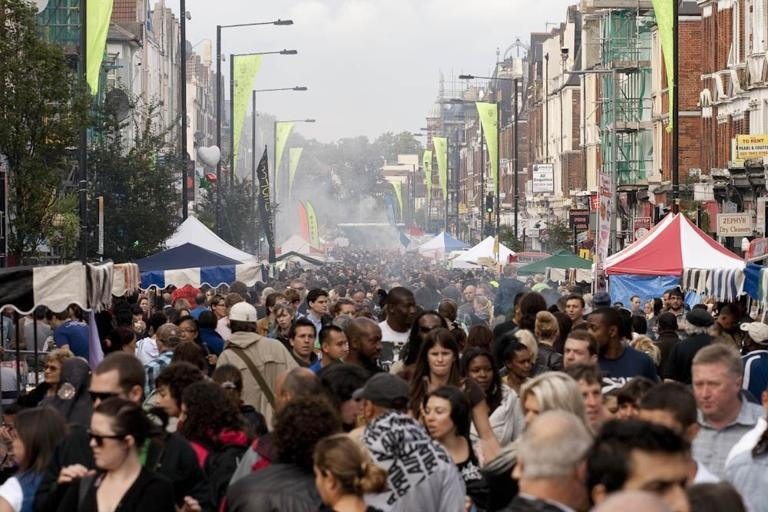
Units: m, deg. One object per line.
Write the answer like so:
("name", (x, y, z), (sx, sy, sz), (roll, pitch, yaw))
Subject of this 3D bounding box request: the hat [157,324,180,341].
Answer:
("hat", (-2.921, 1.044, 16.886), (0.290, 0.200, 0.526), (-2, 1, -11))

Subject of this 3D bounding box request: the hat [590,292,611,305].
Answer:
("hat", (3.430, 0.693, 19.757), (0.190, 0.235, 0.245), (0, -10, -9))

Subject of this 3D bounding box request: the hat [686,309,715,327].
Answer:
("hat", (4.285, 0.851, 17.038), (0.338, 0.248, 0.351), (-1, 1, 12))

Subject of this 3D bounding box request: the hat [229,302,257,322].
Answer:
("hat", (-1.928, 0.781, 16.910), (0.308, 0.255, 0.394), (-2, 1, -39))
